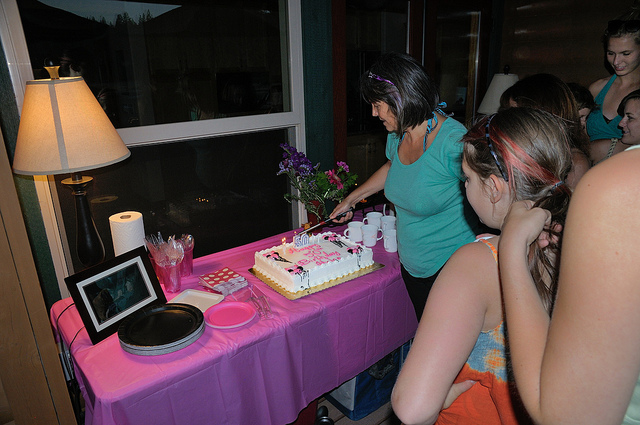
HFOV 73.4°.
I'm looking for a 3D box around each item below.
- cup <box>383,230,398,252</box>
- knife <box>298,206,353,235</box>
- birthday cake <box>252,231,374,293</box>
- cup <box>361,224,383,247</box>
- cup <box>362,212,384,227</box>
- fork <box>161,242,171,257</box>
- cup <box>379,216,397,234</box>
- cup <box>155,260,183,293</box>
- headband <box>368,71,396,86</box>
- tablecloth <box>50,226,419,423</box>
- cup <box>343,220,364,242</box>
[{"bbox_3d":[0.417,0.163,2.541,0.077,0.114,0.117,12,21,40],"label":"cup"},{"bbox_3d":[0.043,0.049,2.732,0.338,0.047,0.027,-31,27,-20],"label":"knife"},{"bbox_3d":[-0.044,0.167,2.603,0.731,0.224,0.746,-12,17,-37],"label":"birthday cake"},{"bbox_3d":[0.300,0.136,2.634,0.154,0.116,0.098,-7,7,-43],"label":"cup"},{"bbox_3d":[0.339,0.038,2.744,0.112,0.082,0.076,4,12,24],"label":"cup"},{"bbox_3d":[-0.772,0.175,2.147,0.023,0.099,0.026,-23,-15,-20],"label":"fork"},{"bbox_3d":[0.421,0.061,2.646,0.073,0.073,0.098,-1,5,-7],"label":"cup"},{"bbox_3d":[-0.763,0.319,2.197,0.124,0.165,0.120,7,-11,1],"label":"cup"},{"bbox_3d":[0.293,-0.669,2.110,0.038,0.064,0.127,-20,22,-36],"label":"headband"},{"bbox_3d":[-0.325,0.621,2.252,1.658,0.615,0.766,-19,21,-34],"label":"tablecloth"},{"bbox_3d":[0.211,0.113,2.669,0.135,0.102,0.090,-9,19,-17],"label":"cup"}]
